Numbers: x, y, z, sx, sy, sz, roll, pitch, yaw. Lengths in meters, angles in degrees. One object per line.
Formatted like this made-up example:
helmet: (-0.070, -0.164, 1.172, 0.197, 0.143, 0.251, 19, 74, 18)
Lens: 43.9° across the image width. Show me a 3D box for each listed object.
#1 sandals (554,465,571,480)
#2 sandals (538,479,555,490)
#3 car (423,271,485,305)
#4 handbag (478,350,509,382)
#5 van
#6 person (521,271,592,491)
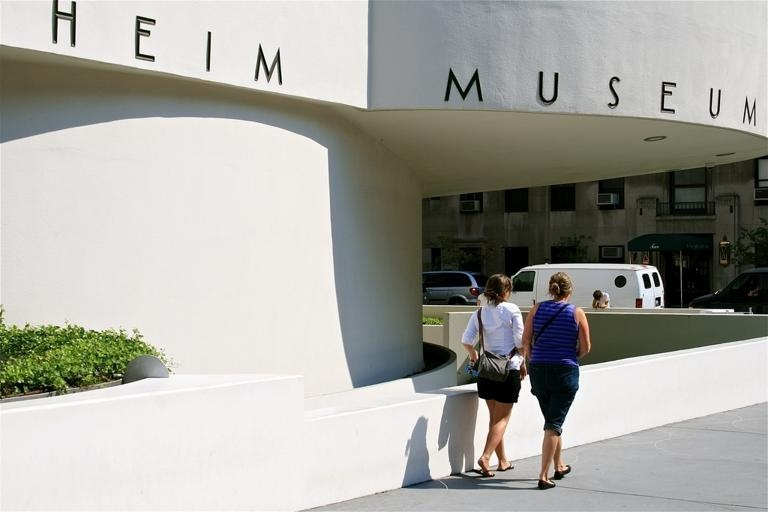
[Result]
sandals: (2.366, 2.834, 12.605, 0.099, 0.120, 0.295, -4, 19, 37)
sandals: (2.111, 2.909, 12.264, 0.295, 0.092, 0.120, -4, 1, -27)
car: (2.790, 1.301, 38.999, 2.280, 1.053, 1.358, 3, -3, 14)
handbag: (1.445, 1.445, 12.471, 0.334, 0.345, 0.156, 2, -16, 20)
van: (6.224, 0.831, 29.394, 4.172, 2.036, 2.373, 2, -2, 20)
person: (2.262, 1.587, 12.423, 0.812, 2.191, 0.524, -3, 1, -2)
